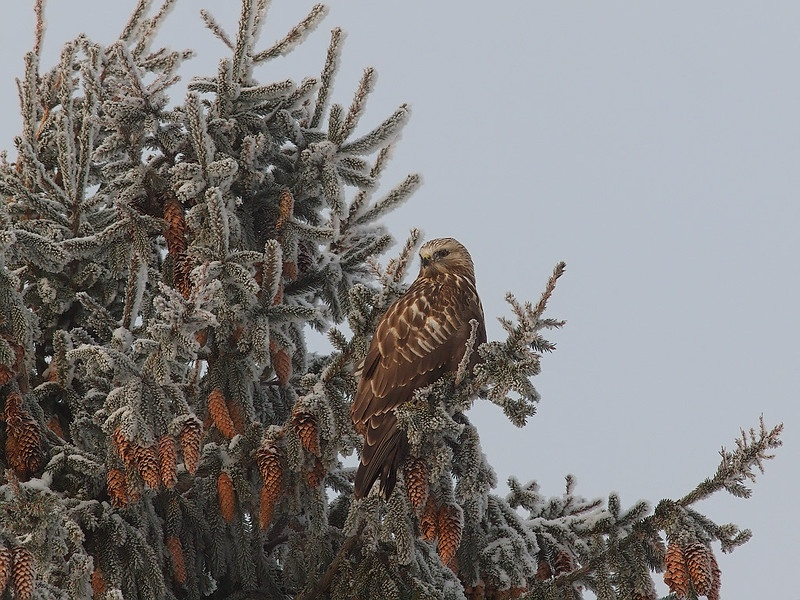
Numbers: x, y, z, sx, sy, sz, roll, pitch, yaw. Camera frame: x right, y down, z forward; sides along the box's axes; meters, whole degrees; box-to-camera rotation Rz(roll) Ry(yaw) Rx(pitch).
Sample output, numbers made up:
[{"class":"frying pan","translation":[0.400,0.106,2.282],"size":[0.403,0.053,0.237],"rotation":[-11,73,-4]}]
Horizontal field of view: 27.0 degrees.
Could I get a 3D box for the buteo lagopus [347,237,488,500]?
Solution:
[{"class":"buteo lagopus","translation":[0.162,0.230,12.388],"size":[0.810,2.786,0.933],"rotation":[-13,-45,19]}]
